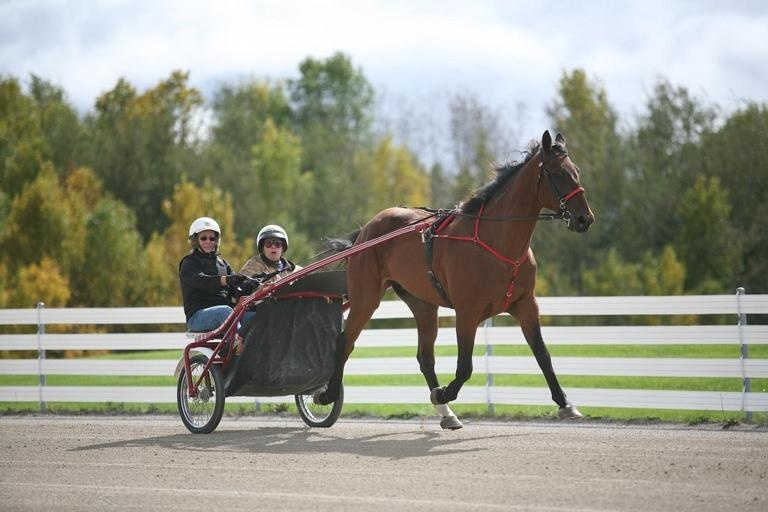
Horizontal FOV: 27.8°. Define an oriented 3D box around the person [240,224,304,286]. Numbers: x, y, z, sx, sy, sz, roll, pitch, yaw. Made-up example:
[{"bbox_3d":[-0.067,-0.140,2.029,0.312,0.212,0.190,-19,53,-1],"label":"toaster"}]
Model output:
[{"bbox_3d":[-2.446,0.045,34.072,1.561,1.473,0.904,-1,-10,-13],"label":"person"}]
